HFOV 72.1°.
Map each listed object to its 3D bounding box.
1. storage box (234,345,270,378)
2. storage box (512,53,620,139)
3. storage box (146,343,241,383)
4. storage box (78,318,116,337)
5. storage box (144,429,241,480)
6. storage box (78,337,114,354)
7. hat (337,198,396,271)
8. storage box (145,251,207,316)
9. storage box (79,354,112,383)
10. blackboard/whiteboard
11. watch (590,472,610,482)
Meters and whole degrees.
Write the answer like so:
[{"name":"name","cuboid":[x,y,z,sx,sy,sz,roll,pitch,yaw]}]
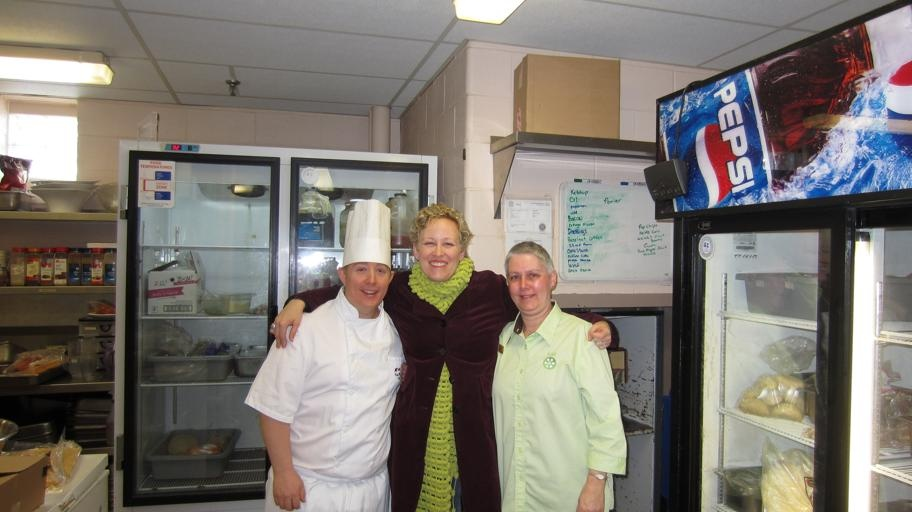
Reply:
[{"name":"storage box","cuboid":[-1.586,0.812,4.826,0.209,0.115,0.292,0,-3,-8]},{"name":"storage box","cuboid":[0.925,-1.179,4.616,0.745,0.537,0.411,9,23,23]},{"name":"storage box","cuboid":[-2.124,0.815,4.955,0.751,0.184,0.714,5,4,-4]},{"name":"storage box","cuboid":[-2.872,0.569,5.030,0.278,0.117,0.190,2,0,-18]},{"name":"storage box","cuboid":[-2.010,1.504,4.746,0.395,0.104,0.414,1,3,-8]},{"name":"storage box","cuboid":[-2.887,0.709,5.032,0.266,0.138,0.045,-1,0,1]},{"name":"hat","cuboid":[-0.634,-0.147,3.822,0.339,0.379,0.416,3,1,-18]},{"name":"storage box","cuboid":[-2.178,0.192,4.898,0.393,0.443,0.492,-3,1,-12]},{"name":"storage box","cuboid":[-2.878,0.886,5.020,0.277,0.236,0.166,3,-10,-17]},{"name":"blackboard/whiteboard","cuboid":[1.242,-0.190,4.709,0.126,0.792,1.184,0,1,-29]},{"name":"watch","cuboid":[0.817,1.228,3.533,0.088,0.027,0.065,7,-7,-2]}]
